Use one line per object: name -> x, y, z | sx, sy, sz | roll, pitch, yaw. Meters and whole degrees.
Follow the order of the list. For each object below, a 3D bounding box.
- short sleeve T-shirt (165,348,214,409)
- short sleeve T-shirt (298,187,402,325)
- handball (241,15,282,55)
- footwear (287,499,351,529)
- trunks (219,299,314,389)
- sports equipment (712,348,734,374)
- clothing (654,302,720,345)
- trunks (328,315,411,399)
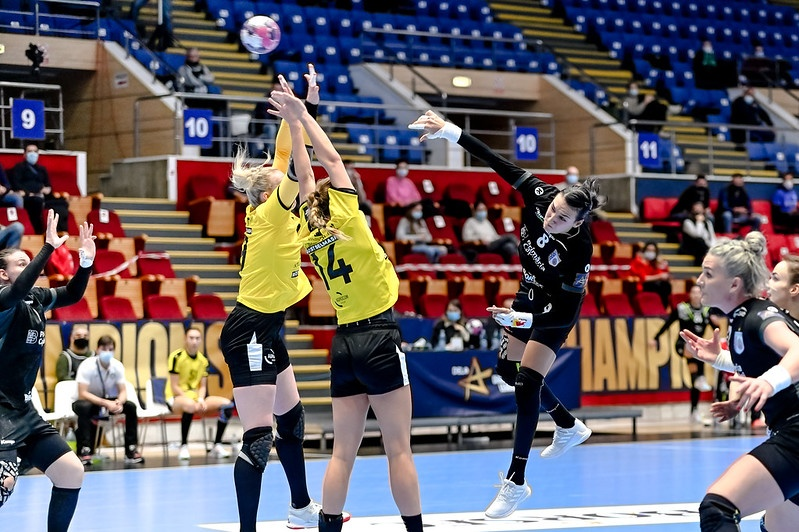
short sleeve T-shirt -> -3.584, 1.897, 19.090 | 0.591, 0.925, 0.758 | -1, -7, 41
short sleeve T-shirt -> -0.545, -0.177, 12.346 | 0.879, 1.515, 0.955 | -13, -5, -35
handball -> -1.602, -2.674, 13.036 | 0.452, 0.442, 0.432 | -7, 25, -5
footwear -> -0.948, 2.947, 13.199 | 0.888, 0.382, 0.325 | -1, 3, -6
trunks -> -1.633, 0.921, 13.143 | 0.801, 1.027, 1.413 | -1, -2, -2
sports equipment -> 3.360, 1.009, 11.686 | 0.205, 0.270, 0.110 | -13, 6, -11
clothing -> 5.790, 1.146, 21.793 | 1.707, 0.869, 0.421 | 4, -25, 2
trunks -> -0.376, 1.093, 12.154 | 0.936, 0.869, 0.550 | -15, -27, 24
